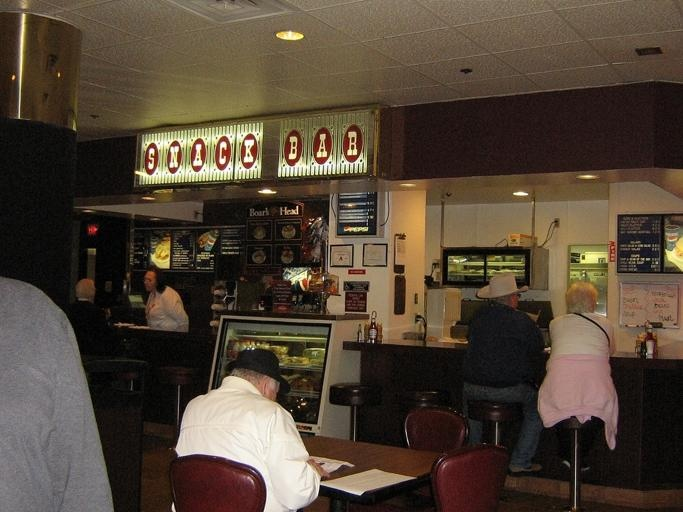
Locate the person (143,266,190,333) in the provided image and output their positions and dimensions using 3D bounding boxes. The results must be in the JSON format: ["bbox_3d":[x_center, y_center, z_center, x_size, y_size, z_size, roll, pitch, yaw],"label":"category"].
[{"bbox_3d":[-1.935,0.480,6.873,0.443,0.678,0.609,1,0,-15],"label":"person"}]

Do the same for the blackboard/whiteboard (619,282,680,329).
[{"bbox_3d":[3.624,0.568,7.254,0.592,0.467,0.081,1,-1,20],"label":"blackboard/whiteboard"}]

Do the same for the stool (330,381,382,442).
[{"bbox_3d":[0.119,1.330,5.363,0.383,0.489,0.416,0,-1,42],"label":"stool"}]

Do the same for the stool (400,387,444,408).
[{"bbox_3d":[0.666,1.153,5.074,0.369,0.134,0.365,-2,-6,18],"label":"stool"}]

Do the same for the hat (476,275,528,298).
[{"bbox_3d":[1.365,0.234,5.121,0.301,0.102,0.253,-16,7,-41],"label":"hat"}]

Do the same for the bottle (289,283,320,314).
[{"bbox_3d":[-0.409,0.469,6.916,0.376,0.332,0.209,2,3,38],"label":"bottle"}]

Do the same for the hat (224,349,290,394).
[{"bbox_3d":[-0.382,0.533,2.804,0.202,0.097,0.256,9,-20,16],"label":"hat"}]

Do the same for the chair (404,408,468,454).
[{"bbox_3d":[0.543,0.970,3.636,0.288,0.392,0.301,-3,-10,30],"label":"chair"}]

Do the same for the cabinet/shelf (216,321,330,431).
[{"bbox_3d":[-0.589,1.133,5.989,1.197,1.062,0.460,1,-11,24],"label":"cabinet/shelf"}]

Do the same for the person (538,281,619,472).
[{"bbox_3d":[1.728,0.777,4.566,0.539,1.145,0.473,0,-1,17],"label":"person"}]
